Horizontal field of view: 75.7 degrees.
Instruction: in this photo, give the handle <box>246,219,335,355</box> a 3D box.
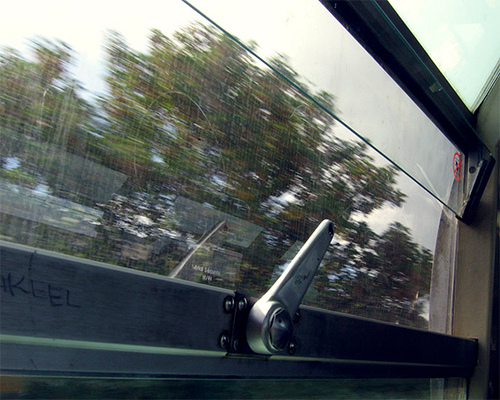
[{"bbox_3d":[0.075,0.128,0.573,0.075,0.264,0.079,24,-44,22],"label":"handle"}]
